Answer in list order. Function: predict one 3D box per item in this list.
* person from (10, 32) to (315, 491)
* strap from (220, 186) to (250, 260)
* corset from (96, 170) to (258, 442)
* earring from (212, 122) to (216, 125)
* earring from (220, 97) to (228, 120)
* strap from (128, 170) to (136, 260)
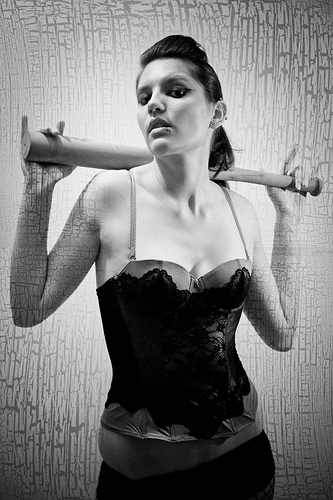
[{"bbox_3d":[0.032,0.019,1.541,0.894,1.218,0.358,-2,8,-23],"label":"person"},{"bbox_3d":[0.198,-0.068,1.653,0.020,0.224,0.021,-26,-21,22],"label":"strap"},{"bbox_3d":[0.003,0.102,1.623,0.369,0.733,0.441,-1,8,-16],"label":"corset"},{"bbox_3d":[0.133,-0.356,1.602,0.012,0.007,0.002,-7,11,-42],"label":"earring"},{"bbox_3d":[0.160,-0.399,1.613,0.028,0.059,0.006,-6,10,-40],"label":"earring"},{"bbox_3d":[-0.096,-0.081,1.513,0.019,0.219,0.026,-1,-11,-2],"label":"strap"}]
